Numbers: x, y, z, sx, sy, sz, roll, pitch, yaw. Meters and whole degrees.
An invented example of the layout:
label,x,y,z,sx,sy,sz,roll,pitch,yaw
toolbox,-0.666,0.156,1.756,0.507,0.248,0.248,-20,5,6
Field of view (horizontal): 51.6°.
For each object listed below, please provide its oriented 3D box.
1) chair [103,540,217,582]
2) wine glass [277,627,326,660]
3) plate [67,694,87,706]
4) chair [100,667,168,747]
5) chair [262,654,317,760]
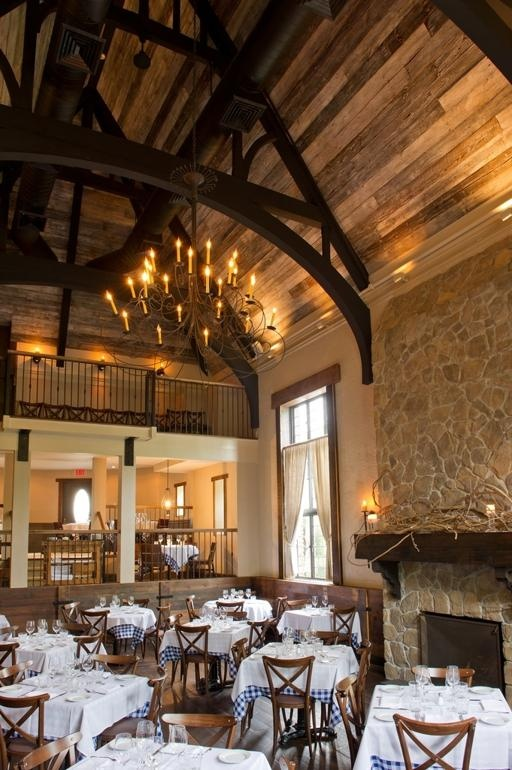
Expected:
label,x,y,z,sx,sy,sz,roll,pitch,yaw
chair,-1.540,3.493,10.643,1.444,0.788,2.320,0,-15,-5
wine glass,0.386,2.188,4.438,0.333,0.282,0.351,2,-19,-6
plate,-1.035,1.813,3.067,0.114,0.009,0.226,3,-16,-15
chair,-0.730,2.037,3.261,0.274,0.417,0.281,1,-24,-12
chair,0.256,2.384,4.054,0.370,0.731,0.979,-2,-15,3
